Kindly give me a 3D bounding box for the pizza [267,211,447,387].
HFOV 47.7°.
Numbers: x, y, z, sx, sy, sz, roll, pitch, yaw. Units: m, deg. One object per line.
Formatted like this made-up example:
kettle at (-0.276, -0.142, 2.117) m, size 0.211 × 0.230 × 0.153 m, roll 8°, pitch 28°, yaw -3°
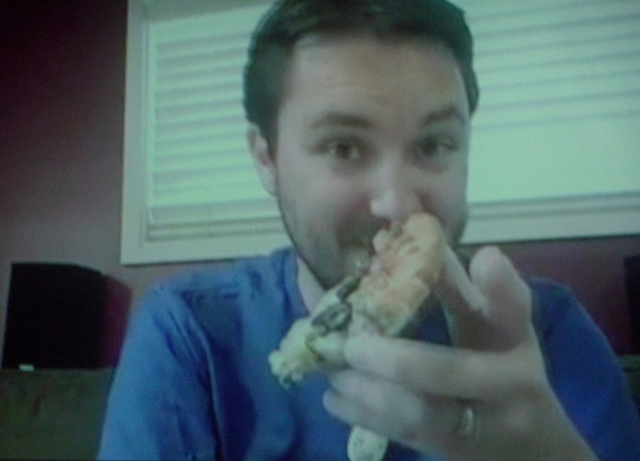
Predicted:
pizza at (0.104, 0.189, 1.686) m, size 0.255 × 0.464 × 0.154 m, roll 44°, pitch 11°, yaw 21°
